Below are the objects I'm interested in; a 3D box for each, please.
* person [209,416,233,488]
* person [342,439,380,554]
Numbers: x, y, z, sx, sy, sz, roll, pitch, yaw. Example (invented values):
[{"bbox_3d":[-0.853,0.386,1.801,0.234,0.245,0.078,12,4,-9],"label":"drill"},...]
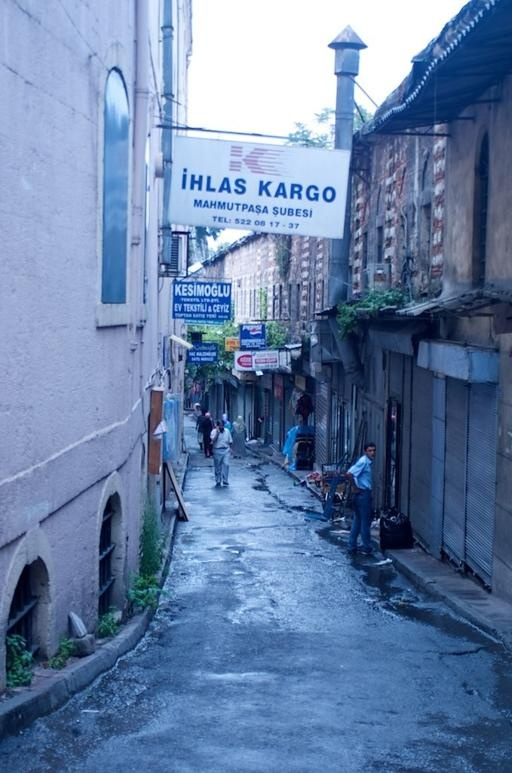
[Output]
[{"bbox_3d":[-1.025,2.003,21.588,0.506,1.904,2.287,1,-4,-3],"label":"person"},{"bbox_3d":[1.703,1.834,12.021,0.409,1.824,0.584,0,-3,11],"label":"person"}]
